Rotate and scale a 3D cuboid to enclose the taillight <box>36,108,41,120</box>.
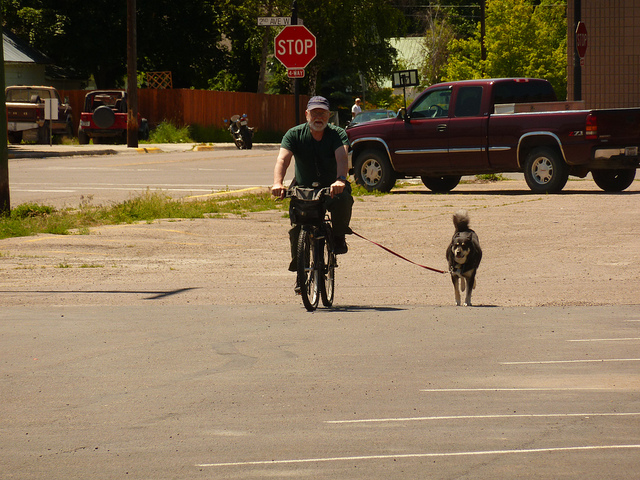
[{"bbox_3d":[-9.456,-4.231,45.411,0.155,0.397,0.470,-2,11,-12],"label":"taillight"}]

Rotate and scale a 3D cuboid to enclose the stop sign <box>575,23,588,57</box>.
[{"bbox_3d":[5.750,-4.441,30.162,0.170,0.748,0.567,4,11,23],"label":"stop sign"}]

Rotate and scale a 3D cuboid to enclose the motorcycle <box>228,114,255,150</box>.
[{"bbox_3d":[-3.019,-4.071,51.583,0.801,1.324,1.111,0,10,-2],"label":"motorcycle"}]

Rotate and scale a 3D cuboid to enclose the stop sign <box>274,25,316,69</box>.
[{"bbox_3d":[-0.614,-4.517,31.710,1.020,1.013,1.056,2,11,11],"label":"stop sign"}]

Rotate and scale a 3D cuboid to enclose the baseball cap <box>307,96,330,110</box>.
[{"bbox_3d":[-0.043,-1.591,15.799,0.235,0.144,0.248,0,11,0],"label":"baseball cap"}]
